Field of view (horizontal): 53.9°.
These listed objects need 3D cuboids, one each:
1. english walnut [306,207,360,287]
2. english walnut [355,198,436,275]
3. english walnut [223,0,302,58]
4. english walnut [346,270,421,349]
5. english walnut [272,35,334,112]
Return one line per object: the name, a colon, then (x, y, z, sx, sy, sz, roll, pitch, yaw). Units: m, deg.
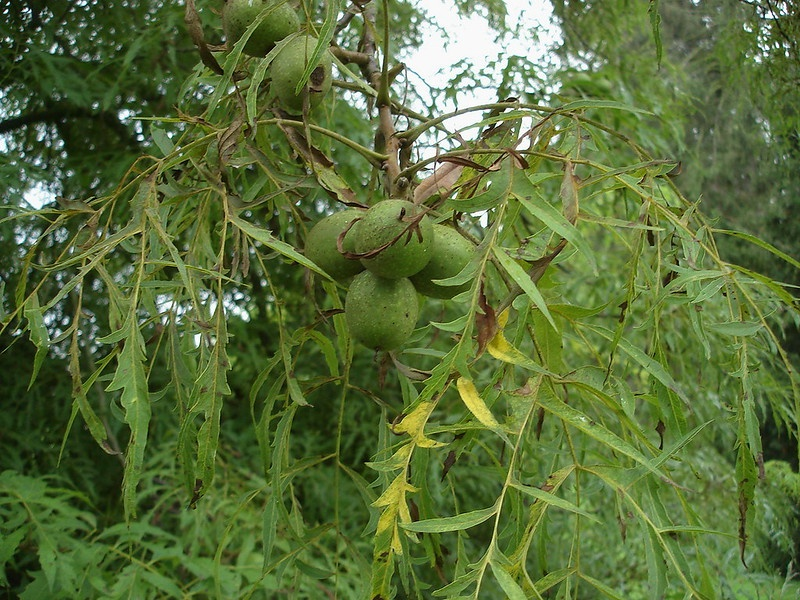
english walnut: (-0.090, -0.095, 1.315, 0.107, 0.088, 0.088, 23, -28, 40)
english walnut: (-0.009, -0.089, 1.205, 0.102, 0.113, 0.128, 16, -33, 14)
english walnut: (-0.230, -0.474, 1.315, 0.106, 0.088, 0.103, -15, -56, -12)
english walnut: (-0.016, 0.002, 1.293, 0.117, 0.138, 0.172, -1, -63, -2)
english walnut: (-0.174, -0.374, 1.330, 0.098, 0.139, 0.117, -11, -74, -8)
